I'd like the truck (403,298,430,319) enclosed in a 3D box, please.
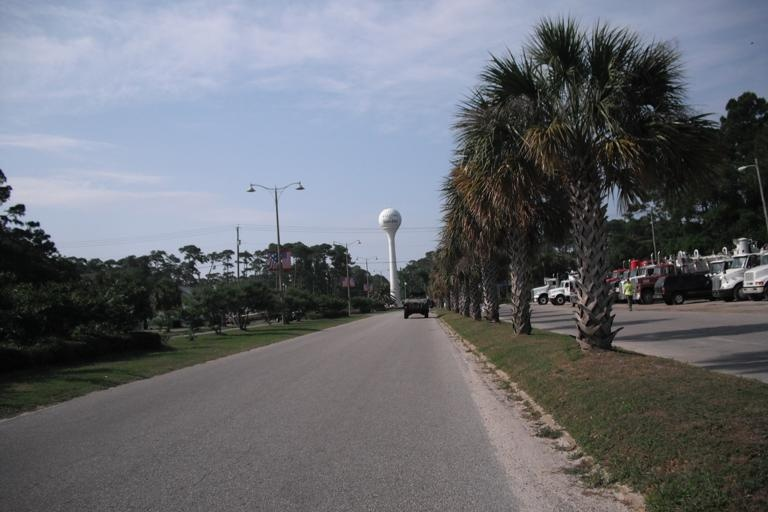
[{"bbox_3d":[3.525,5.641,56.700,2.452,1.705,4.459,-2,-1,9],"label":"truck"}]
